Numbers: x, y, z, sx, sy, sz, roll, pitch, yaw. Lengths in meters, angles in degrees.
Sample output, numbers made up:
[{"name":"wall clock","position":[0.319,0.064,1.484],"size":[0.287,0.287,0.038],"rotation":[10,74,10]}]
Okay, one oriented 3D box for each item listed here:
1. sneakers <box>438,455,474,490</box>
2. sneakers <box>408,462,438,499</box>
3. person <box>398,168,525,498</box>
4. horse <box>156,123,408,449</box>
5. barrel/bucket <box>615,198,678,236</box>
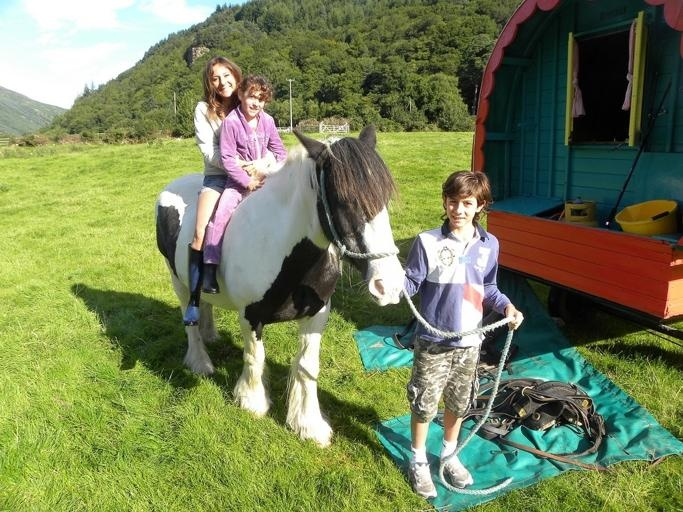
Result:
[{"name":"sneakers","position":[0.960,1.841,4.195],"size":[0.165,0.194,0.390],"rotation":[-9,4,-24]},{"name":"sneakers","position":[0.686,1.877,4.044],"size":[0.127,0.169,0.351],"rotation":[-1,-2,-9]},{"name":"person","position":[0.858,0.691,3.957],"size":[1.091,2.762,0.786],"rotation":[-1,10,-13]},{"name":"horse","position":[-0.275,0.368,4.129],"size":[1.803,2.806,0.527],"rotation":[10,17,37]},{"name":"barrel/bucket","position":[3.344,-0.424,5.205],"size":[0.441,0.280,0.530],"rotation":[-26,20,0]}]
